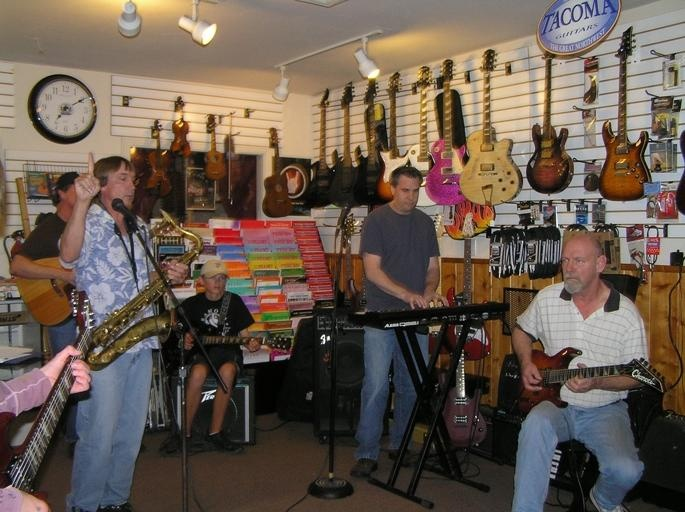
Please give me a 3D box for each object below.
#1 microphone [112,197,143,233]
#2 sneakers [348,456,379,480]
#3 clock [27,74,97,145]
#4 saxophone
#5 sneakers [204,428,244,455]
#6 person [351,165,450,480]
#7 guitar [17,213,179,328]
[{"bbox_3d":[-1.374,-0.253,3.891,0.151,0.219,0.323,-2,7,-19],"label":"microphone"},{"bbox_3d":[0.160,1.714,4.966,0.105,0.118,0.232,-7,-18,31],"label":"sneakers"},{"bbox_3d":[-3.294,-1.734,7.185,0.707,0.878,0.087,-6,44,-32],"label":"clock"},{"bbox_3d":[-1.323,0.346,4.014,1.256,0.397,0.353,-43,42,4],"label":"saxophone"},{"bbox_3d":[-1.045,1.652,5.506,0.380,0.170,0.147,-1,-6,30],"label":"sneakers"},{"bbox_3d":[0.428,0.536,4.951,0.654,2.494,0.725,1,6,9],"label":"person"},{"bbox_3d":[-1.786,0.126,4.395,1.004,0.422,0.108,-38,19,-11],"label":"guitar"}]
